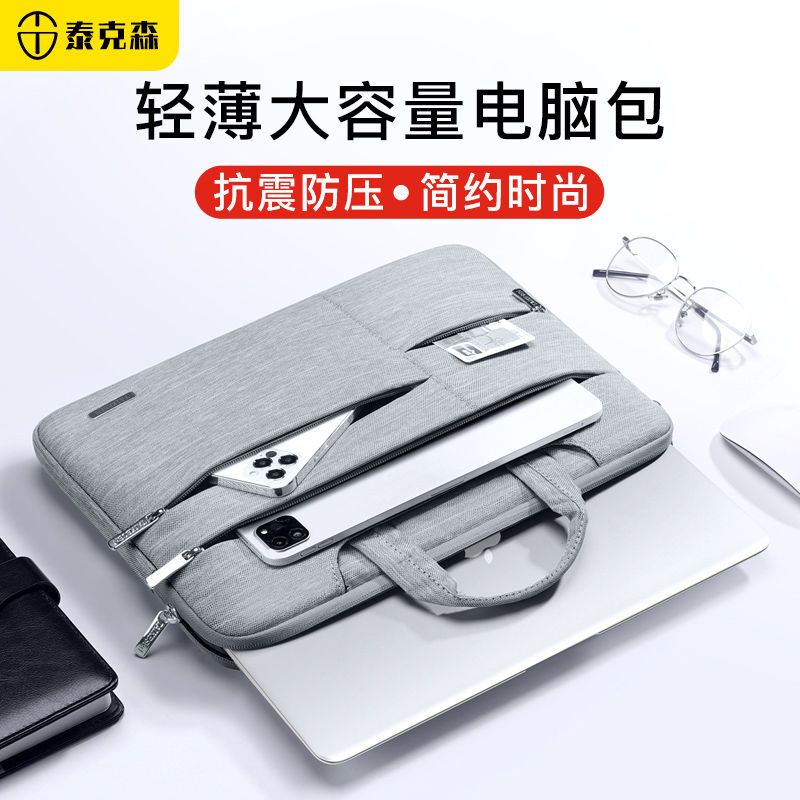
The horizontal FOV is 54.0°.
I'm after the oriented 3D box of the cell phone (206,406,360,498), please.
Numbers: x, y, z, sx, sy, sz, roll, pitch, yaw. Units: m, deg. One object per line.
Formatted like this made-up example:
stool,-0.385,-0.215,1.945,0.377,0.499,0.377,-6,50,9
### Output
cell phone,-0.168,0.079,1.190,0.093,0.023,0.178,11,36,33
